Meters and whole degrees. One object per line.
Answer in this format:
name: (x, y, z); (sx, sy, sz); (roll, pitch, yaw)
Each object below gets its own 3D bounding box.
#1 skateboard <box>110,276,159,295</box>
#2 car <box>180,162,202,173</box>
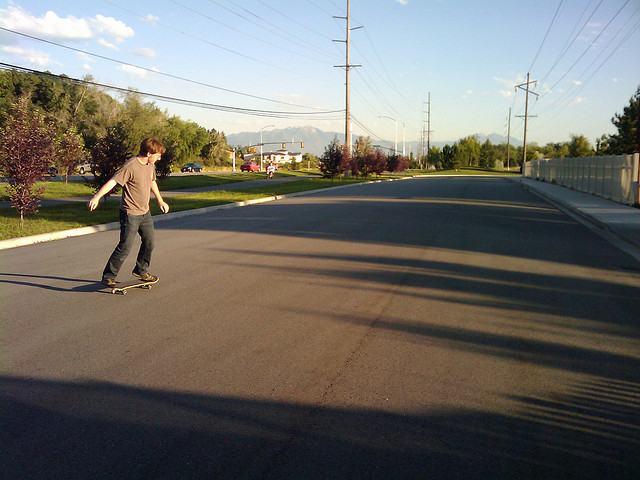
skateboard: (-3.132, 0.730, 8.509); (0.243, 0.163, 0.896); (32, 30, 34)
car: (-18.350, -10.234, 70.745); (2.926, 1.008, 1.988); (-12, 20, -35)
